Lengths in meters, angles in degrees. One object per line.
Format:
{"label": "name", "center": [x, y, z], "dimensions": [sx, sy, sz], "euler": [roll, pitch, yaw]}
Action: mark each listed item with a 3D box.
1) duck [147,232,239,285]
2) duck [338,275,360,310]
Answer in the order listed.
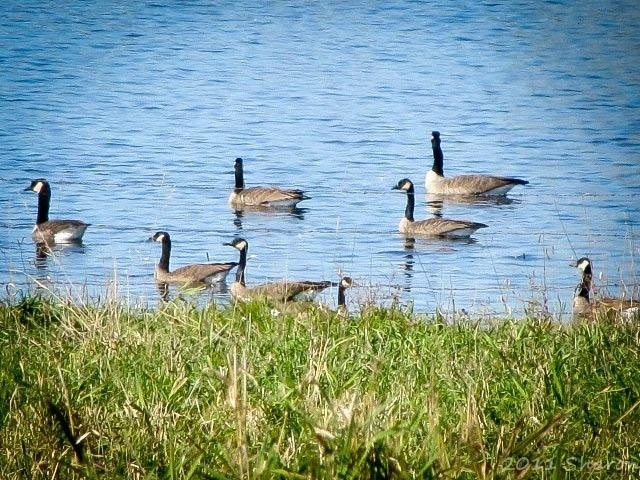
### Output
{"label": "duck", "center": [-2.566, 0.385, 19.615], "dimensions": [1.923, 1.059, 0.616], "euler": [0, 12, -36]}
{"label": "duck", "center": [0.369, 0.819, 16.091], "dimensions": [0.169, 0.497, 0.182], "euler": [1, 5, 29]}
